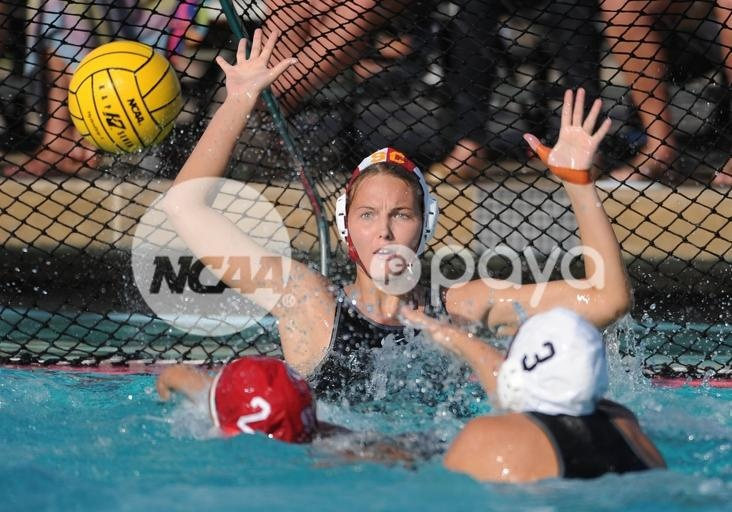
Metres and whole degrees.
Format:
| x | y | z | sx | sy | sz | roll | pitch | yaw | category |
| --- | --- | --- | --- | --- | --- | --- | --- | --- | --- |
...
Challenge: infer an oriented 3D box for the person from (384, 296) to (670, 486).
| x | y | z | sx | sy | sz | roll | pitch | yaw | category |
| --- | --- | --- | --- | --- | --- | --- | --- | --- | --- |
| 0.689 | 0.601 | 3.255 | 1.010 | 0.646 | 0.998 | 5 | -2 | -32 | person |

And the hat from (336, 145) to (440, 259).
| x | y | z | sx | sy | sz | roll | pitch | yaw | category |
| --- | --- | --- | --- | --- | --- | --- | --- | --- | --- |
| 0.125 | -0.334 | 3.743 | 0.587 | 0.670 | 0.339 | -3 | 19 | -35 | hat |

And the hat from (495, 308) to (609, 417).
| x | y | z | sx | sy | sz | roll | pitch | yaw | category |
| --- | --- | --- | --- | --- | --- | --- | --- | --- | --- |
| 0.727 | 0.382 | 3.055 | 0.357 | 0.432 | 0.386 | -1 | 5 | 0 | hat |
